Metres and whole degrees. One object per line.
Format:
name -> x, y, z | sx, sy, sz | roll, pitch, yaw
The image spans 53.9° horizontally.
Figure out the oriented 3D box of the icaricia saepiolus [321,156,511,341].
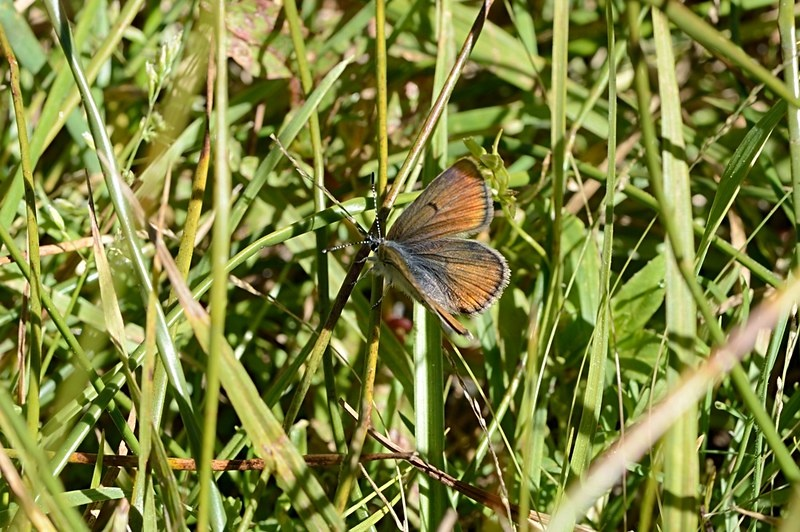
icaricia saepiolus -> 0.089, -0.042, 2.280 | 0.368, 0.505, 0.401 | 20, 38, 31
